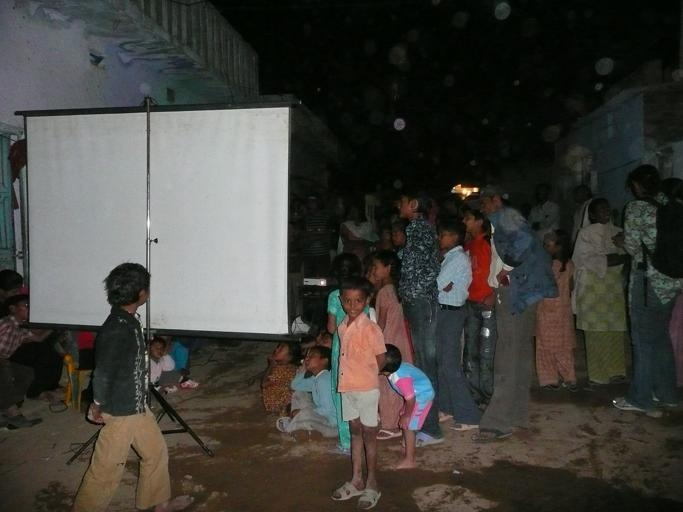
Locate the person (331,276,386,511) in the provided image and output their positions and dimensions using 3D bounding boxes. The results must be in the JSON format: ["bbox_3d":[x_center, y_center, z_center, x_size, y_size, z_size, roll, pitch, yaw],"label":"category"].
[{"bbox_3d":[0.167,1.233,5.938,0.487,2.075,0.383,0,-2,7],"label":"person"}]

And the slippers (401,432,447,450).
[{"bbox_3d":[0.860,1.923,6.700,0.489,0.201,0.185,3,-6,-9],"label":"slippers"}]

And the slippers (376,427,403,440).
[{"bbox_3d":[0.512,1.908,6.901,0.203,0.068,0.109,4,-7,-8],"label":"slippers"}]

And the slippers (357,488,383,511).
[{"bbox_3d":[0.276,2.185,5.787,0.268,0.171,0.111,3,-4,-44],"label":"slippers"}]

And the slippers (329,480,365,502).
[{"bbox_3d":[0.050,2.148,5.832,0.286,0.116,0.138,6,-10,-22],"label":"slippers"}]

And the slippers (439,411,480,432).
[{"bbox_3d":[1.286,1.841,7.101,0.372,0.163,0.142,1,-3,19],"label":"slippers"}]
